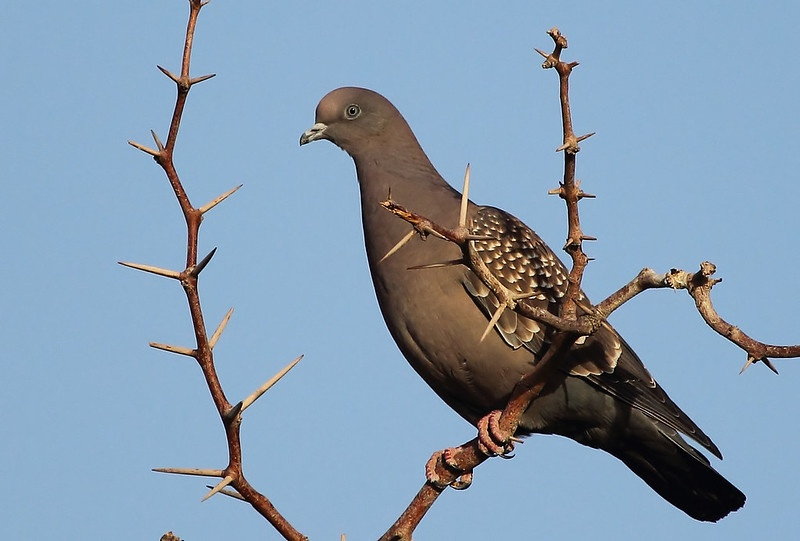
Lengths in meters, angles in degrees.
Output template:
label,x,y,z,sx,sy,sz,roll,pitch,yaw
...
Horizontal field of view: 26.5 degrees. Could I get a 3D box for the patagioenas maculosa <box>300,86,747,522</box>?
label,x,y,z,sx,sy,sz,roll,pitch,yaw
patagioenas maculosa,0.763,0.221,10.134,2.615,2.394,1.094,11,-27,-13
